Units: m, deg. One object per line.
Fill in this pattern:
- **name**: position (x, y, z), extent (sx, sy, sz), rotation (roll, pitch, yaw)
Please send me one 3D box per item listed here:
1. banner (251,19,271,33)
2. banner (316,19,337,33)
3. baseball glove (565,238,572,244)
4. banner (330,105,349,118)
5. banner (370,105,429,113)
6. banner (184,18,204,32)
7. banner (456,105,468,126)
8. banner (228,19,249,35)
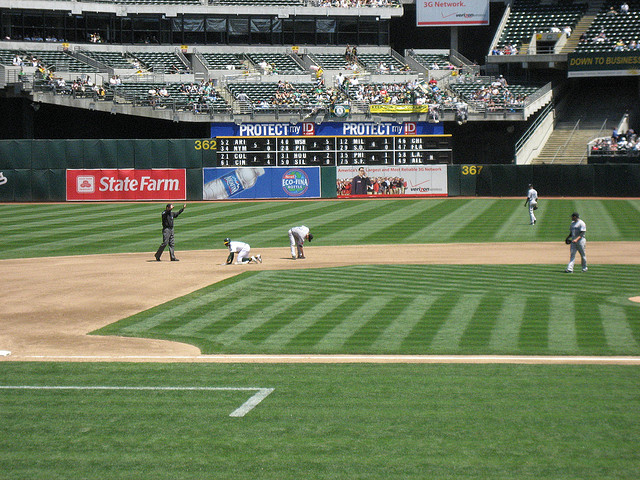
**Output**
- **banner**: position (-4.104, -14.597, 72.910), extent (1.376, 0.718, 0.103), rotation (0, 26, -6)
- **banner**: position (0.423, -14.774, 73.706), extent (1.264, 0.657, 0.091), rotation (-1, 24, -5)
- **baseball glove**: position (7.940, 0.084, 33.707), extent (0.204, 0.158, 0.191), rotation (4, 0, 8)
- **banner**: position (1.164, -7.441, 61.810), extent (0.990, 0.488, 0.046), rotation (0, 26, 0)
- **banner**: position (4.694, -7.687, 62.541), extent (5.064, 0.382, 0.915), rotation (2, 2, 7)
- **banner**: position (-8.519, -14.440, 71.900), extent (1.339, 0.690, 0.094), rotation (-1, 26, -4)
- **banner**: position (8.574, -7.483, 63.783), extent (0.732, 0.939, 0.506), rotation (-2, 1, -21)
- **banner**: position (-5.542, -14.445, 72.605), extent (1.366, 0.984, 0.292), rotation (-4, 5, -11)
